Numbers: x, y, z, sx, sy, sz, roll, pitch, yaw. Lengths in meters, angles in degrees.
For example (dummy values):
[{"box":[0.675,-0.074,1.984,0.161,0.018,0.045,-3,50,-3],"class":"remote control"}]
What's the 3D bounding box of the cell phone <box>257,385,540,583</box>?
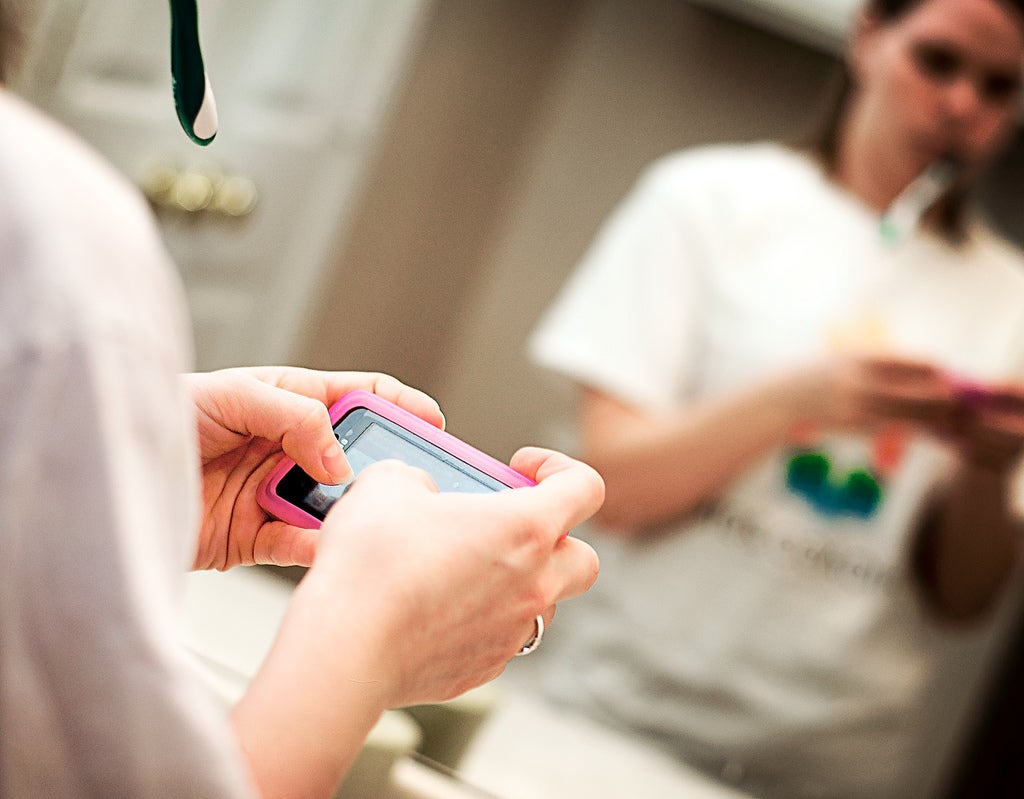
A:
[{"box":[-0.090,0.046,0.756,0.176,0.172,0.098,34,31,-39],"class":"cell phone"}]
